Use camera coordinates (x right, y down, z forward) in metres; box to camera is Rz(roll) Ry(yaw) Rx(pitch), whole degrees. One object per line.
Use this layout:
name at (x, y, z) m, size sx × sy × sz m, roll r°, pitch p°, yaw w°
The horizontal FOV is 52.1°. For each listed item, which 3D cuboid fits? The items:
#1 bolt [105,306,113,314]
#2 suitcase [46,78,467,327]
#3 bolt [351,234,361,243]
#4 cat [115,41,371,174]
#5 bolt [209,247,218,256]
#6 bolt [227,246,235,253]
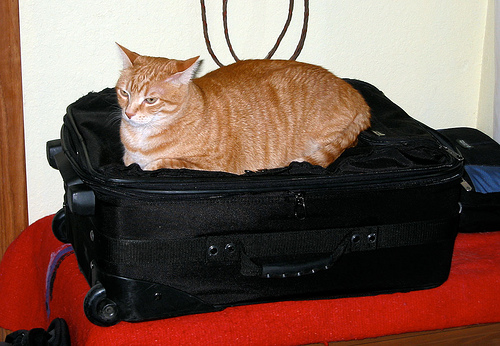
bolt at (-0.305, 0.295, 1.106) m, size 0.016 × 0.016 × 0.002 m, roll -3°, pitch 16°, yaw -10°
suitcase at (0.019, 0.014, 1.201) m, size 0.695 × 0.239 × 0.568 m, roll -4°, pitch 20°, yaw -11°
bolt at (0.243, 0.150, 1.171) m, size 0.020 × 0.019 × 0.005 m, roll 10°, pitch 15°, yaw -9°
cat at (-0.022, -0.194, 1.510) m, size 0.672 × 0.346 × 0.574 m, roll -3°, pitch 22°, yaw -3°
bolt at (-0.079, 0.169, 1.114) m, size 0.018 × 0.017 × 0.003 m, roll -2°, pitch 16°, yaw -8°
bolt at (-0.042, 0.167, 1.122) m, size 0.017 × 0.015 × 0.001 m, roll -2°, pitch 16°, yaw -8°
